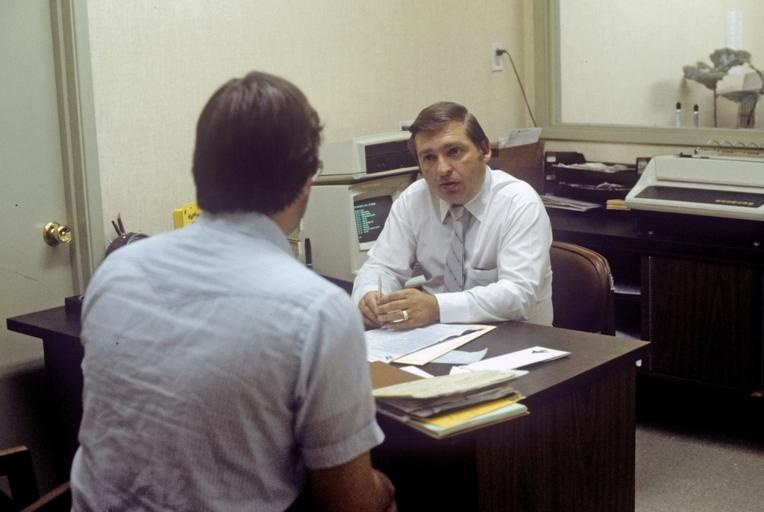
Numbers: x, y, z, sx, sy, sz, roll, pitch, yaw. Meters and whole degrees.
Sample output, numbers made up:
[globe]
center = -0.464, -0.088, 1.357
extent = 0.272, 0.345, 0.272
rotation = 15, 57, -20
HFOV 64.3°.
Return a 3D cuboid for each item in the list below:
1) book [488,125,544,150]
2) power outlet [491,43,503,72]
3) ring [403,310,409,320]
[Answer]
[book]
center = 0.749, -0.638, 3.258
extent = 0.232, 0.066, 0.243
rotation = -10, 7, 41
[power outlet]
center = 0.716, -1.241, 3.794
extent = 0.104, 0.173, 0.018
rotation = -11, 13, -40
[ring]
center = 0.075, 0.196, 2.034
extent = 0.019, 0.024, 0.026
rotation = -1, -9, 1
